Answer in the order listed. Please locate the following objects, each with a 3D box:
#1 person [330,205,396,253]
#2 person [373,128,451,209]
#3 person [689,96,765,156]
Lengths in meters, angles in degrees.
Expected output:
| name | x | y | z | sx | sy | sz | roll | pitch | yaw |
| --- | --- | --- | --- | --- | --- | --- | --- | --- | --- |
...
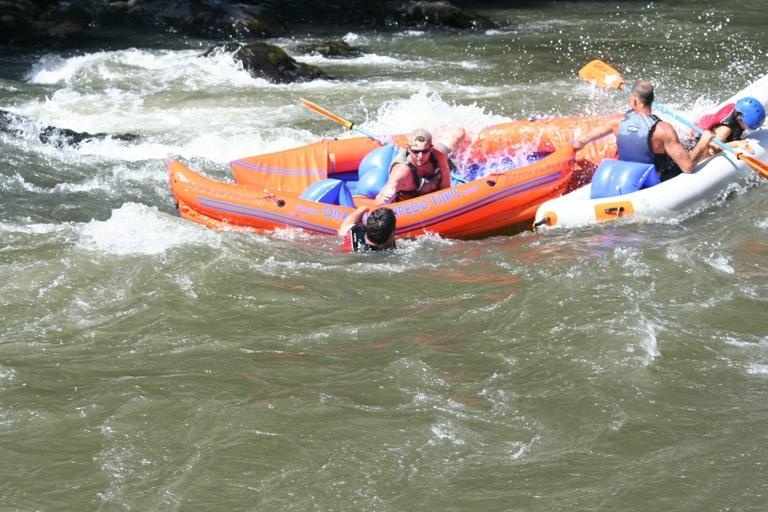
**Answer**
| name | x | y | z | sx | sy | sz | roll | pitch | yaw |
| --- | --- | --- | --- | --- | --- | --- | --- | --- | --- |
| person | -0.213 | -0.468 | 17.789 | 0.780 | 0.303 | 0.781 | 0 | 29 | 0 |
| person | 0.479 | -1.355 | 18.531 | 1.289 | 1.162 | 0.537 | -15 | 38 | -28 |
| person | 5.418 | -2.106 | 19.120 | 1.220 | 0.441 | 0.704 | 2 | 52 | 32 |
